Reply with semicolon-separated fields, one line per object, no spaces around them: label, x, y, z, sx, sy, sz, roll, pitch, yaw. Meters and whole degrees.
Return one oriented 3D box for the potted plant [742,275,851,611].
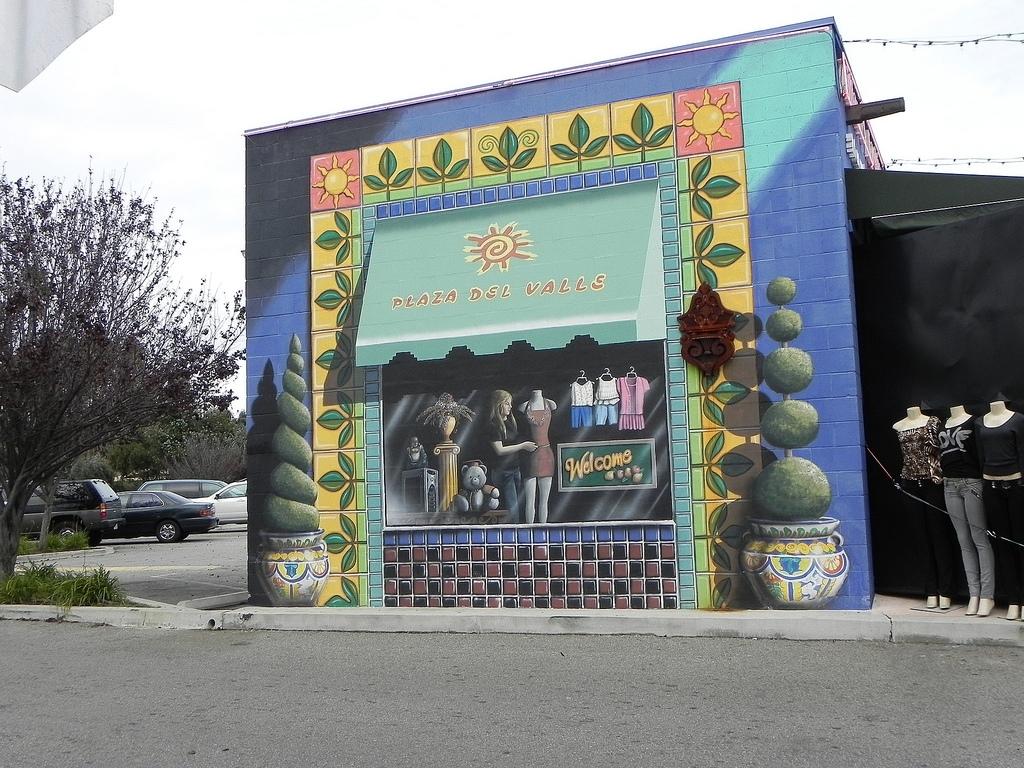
potted plant;3.222;0.648;13.152;1.752;3.796;1.782;-1;4;26

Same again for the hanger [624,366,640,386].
hanger;1.436;-0.091;13.465;0.210;0.242;0.034;3;7;18
